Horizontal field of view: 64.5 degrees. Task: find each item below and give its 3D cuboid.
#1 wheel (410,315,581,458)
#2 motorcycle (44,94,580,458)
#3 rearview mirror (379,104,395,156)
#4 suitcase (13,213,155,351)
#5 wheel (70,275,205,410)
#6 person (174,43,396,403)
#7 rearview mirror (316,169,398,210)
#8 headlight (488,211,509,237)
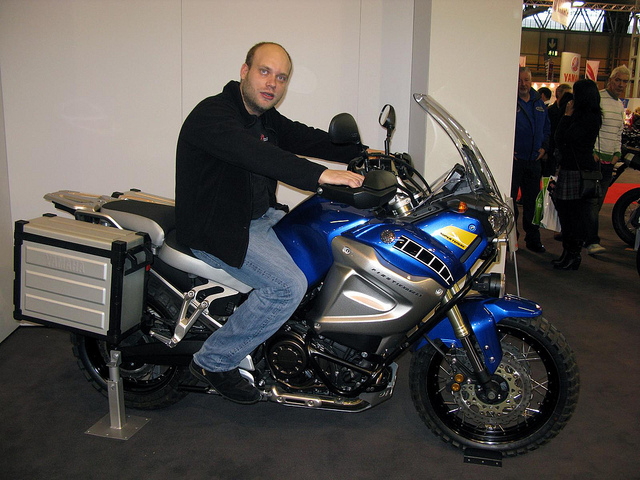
[{"bbox_3d":[0.912,0.804,2.705,0.696,0.698,0.138,-9,12,16],"label":"wheel"},{"bbox_3d":[-0.082,0.214,2.885,2.917,1.912,1.058,3,12,11],"label":"motorcycle"},{"bbox_3d":[0.336,-0.557,2.559,0.071,0.242,0.151,3,19,7],"label":"rearview mirror"},{"bbox_3d":[-1.246,0.207,2.726,0.692,0.538,0.247,11,13,12],"label":"suitcase"},{"bbox_3d":[-1.117,0.632,3.048,0.769,0.807,0.226,28,16,8],"label":"wheel"},{"bbox_3d":[-0.225,-0.140,2.937,1.145,1.920,1.183,3,15,17],"label":"person"},{"bbox_3d":[0.158,-0.226,2.251,0.360,0.153,0.128,2,19,2],"label":"rearview mirror"},{"bbox_3d":[0.876,-0.080,2.499,0.093,0.128,0.047,2,7,-4],"label":"headlight"}]
